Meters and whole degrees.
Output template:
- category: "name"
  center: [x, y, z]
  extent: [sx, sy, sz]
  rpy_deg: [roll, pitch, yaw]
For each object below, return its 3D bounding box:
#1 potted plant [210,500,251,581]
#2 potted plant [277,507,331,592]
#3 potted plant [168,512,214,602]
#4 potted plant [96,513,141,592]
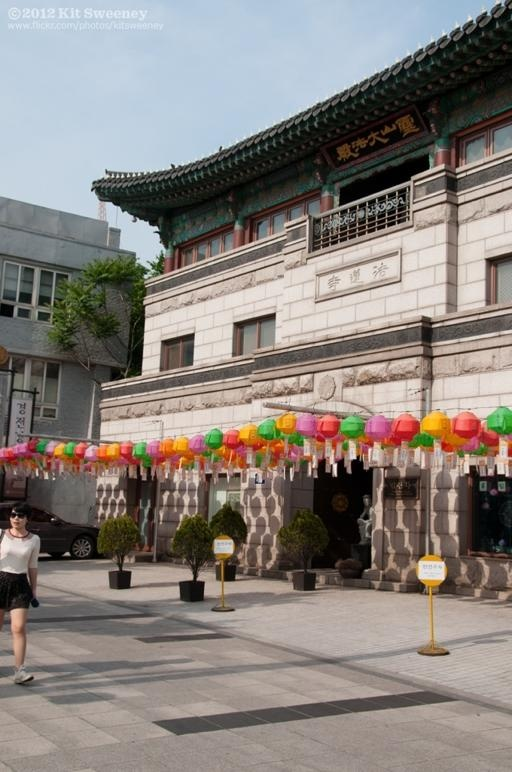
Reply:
- category: "potted plant"
  center: [-0.623, 3.572, 16.257]
  extent: [1.010, 1.607, 1.001]
  rpy_deg: [-12, -23, 29]
- category: "potted plant"
  center: [0.910, 3.289, 14.729]
  extent: [1.187, 1.712, 1.166]
  rpy_deg: [-10, -31, 23]
- category: "potted plant"
  center: [-1.157, 3.069, 12.864]
  extent: [0.715, 1.471, 0.650]
  rpy_deg: [5, -10, -5]
- category: "potted plant"
  center: [-2.632, 3.263, 14.107]
  extent: [0.891, 1.328, 0.871]
  rpy_deg: [-9, -20, 21]
